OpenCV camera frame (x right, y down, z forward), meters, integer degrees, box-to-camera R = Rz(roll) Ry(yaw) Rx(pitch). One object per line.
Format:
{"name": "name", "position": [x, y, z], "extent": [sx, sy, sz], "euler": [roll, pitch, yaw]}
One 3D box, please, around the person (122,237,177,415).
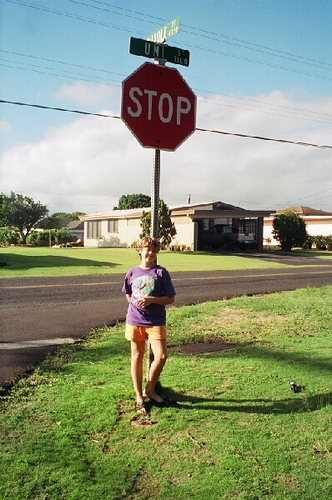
{"name": "person", "position": [-0.157, 0.644, 3.951], "extent": [0.457, 1.509, 0.426], "euler": [-1, 2, -4]}

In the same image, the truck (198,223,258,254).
{"name": "truck", "position": [4.459, -0.823, 32.687], "extent": [1.977, 1.593, 3.976], "euler": [-1, 4, -38]}

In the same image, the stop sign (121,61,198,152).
{"name": "stop sign", "position": [-0.052, -1.437, 4.442], "extent": [0.875, 0.872, 0.087], "euler": [-2, 2, -33]}

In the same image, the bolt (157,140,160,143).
{"name": "bolt", "position": [-0.078, -1.087, 4.437], "extent": [0.037, 0.034, 0.010], "euler": [1, 4, -13]}
